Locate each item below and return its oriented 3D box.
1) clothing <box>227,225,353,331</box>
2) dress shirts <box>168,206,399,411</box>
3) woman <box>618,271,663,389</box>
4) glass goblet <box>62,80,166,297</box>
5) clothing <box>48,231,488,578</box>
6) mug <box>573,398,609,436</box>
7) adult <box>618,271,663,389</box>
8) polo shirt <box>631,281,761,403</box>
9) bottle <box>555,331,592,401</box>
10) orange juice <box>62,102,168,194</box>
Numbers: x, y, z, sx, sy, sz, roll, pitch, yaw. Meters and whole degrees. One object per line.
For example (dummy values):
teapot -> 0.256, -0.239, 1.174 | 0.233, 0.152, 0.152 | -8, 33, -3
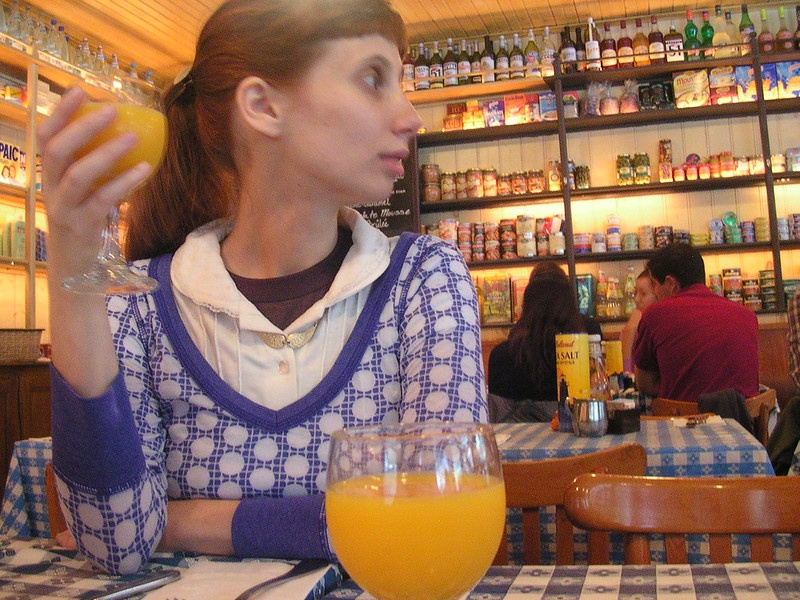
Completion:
clothing -> -0.208, -0.060, 1.090 | 0.163, 0.103, 0.223 | -5, -14, 7
dress shirts -> -0.216, 0.011, 1.199 | 0.403, 0.434, 0.241 | -3, -3, -2
woman -> 1.598, 0.128, 4.465 | 0.179, 0.722, 0.172 | 4, -8, -28
glass goblet -> -0.399, -0.132, 0.917 | 0.115, 0.213, 0.108 | 18, -29, -40
clothing -> -0.214, 0.152, 1.154 | 0.620, 0.564, 0.374 | -5, 3, -5
mug -> 0.563, 0.347, 1.983 | 0.071, 0.097, 0.120 | 2, -5, -22
adult -> 1.605, 0.129, 4.471 | 0.170, 0.727, 0.189 | -7, -11, 42
polo shirt -> 1.446, 0.205, 3.334 | 0.479, 0.627, 0.532 | -2, -3, 13
bottle -> 0.553, 0.203, 2.087 | 0.098, 0.130, 0.188 | -3, -2, 17
orange juice -> -0.388, -0.213, 0.912 | 0.086, 0.130, 0.136 | -2, -2, -2
